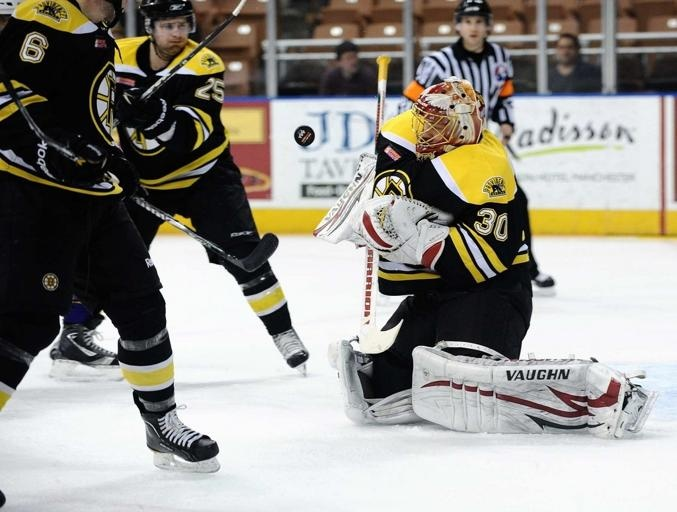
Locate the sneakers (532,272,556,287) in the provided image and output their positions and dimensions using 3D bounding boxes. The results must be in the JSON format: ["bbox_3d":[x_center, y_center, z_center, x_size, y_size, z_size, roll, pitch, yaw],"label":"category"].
[{"bbox_3d":[1.129,0.137,5.151,0.068,0.064,0.170,-9,4,-18],"label":"sneakers"}]

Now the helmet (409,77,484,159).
[{"bbox_3d":[0.357,-0.460,3.079,0.313,0.232,0.226,-14,15,-5],"label":"helmet"}]

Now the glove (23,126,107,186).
[{"bbox_3d":[-0.705,-0.278,2.483,0.182,0.061,0.126,36,2,-13],"label":"glove"}]

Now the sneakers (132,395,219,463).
[{"bbox_3d":[-0.483,0.523,2.803,0.265,0.216,0.143,-1,12,6],"label":"sneakers"}]
